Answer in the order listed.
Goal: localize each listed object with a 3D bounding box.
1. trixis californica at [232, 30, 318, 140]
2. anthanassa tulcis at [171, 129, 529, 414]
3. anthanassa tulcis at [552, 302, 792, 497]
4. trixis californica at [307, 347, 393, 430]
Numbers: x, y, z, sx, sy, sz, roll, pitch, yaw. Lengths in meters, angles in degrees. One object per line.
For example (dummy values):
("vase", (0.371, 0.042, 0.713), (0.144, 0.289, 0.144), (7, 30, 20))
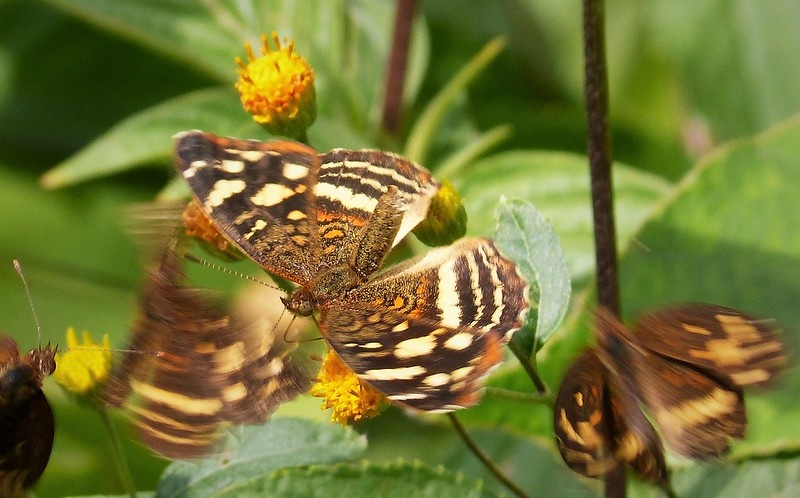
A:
("trixis californica", (-0.116, -0.155, 0.817), (0.076, 0.101, 0.044), (4, 16, -7))
("anthanassa tulcis", (-0.025, 0.010, 0.764), (0.355, 0.096, 0.188), (42, 62, 18))
("anthanassa tulcis", (0.201, 0.103, 0.629), (0.171, 0.134, 0.068), (-4, 19, -30))
("trixis californica", (-0.041, 0.124, 0.767), (0.066, 0.066, 0.025), (42, 40, 18))
